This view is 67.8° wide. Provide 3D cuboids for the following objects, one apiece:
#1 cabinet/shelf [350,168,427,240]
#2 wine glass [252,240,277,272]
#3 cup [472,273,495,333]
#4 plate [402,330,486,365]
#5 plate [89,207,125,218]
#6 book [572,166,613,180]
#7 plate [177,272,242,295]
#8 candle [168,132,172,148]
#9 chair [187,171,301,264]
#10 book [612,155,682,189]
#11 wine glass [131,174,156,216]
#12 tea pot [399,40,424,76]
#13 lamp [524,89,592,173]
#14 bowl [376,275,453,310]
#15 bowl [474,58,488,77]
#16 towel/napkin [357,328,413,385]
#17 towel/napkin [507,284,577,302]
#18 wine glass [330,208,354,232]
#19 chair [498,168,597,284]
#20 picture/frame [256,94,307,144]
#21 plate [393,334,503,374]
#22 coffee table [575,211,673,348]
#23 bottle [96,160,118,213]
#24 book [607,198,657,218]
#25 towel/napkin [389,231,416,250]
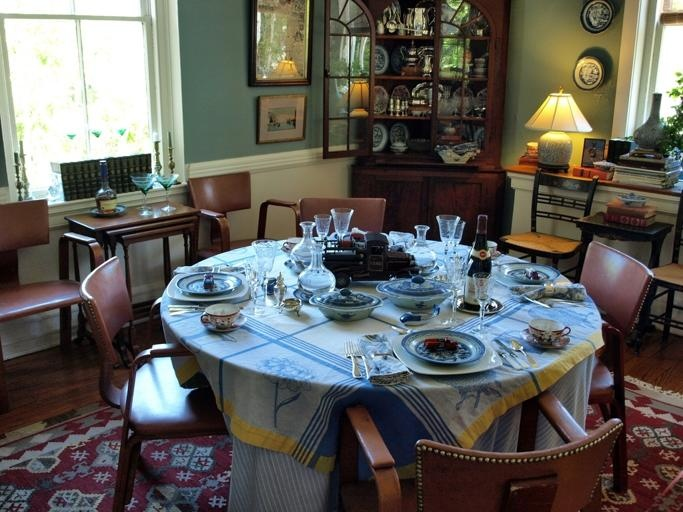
[{"bbox_3d":[0.382,-0.441,3.901,0.746,0.652,0.250,3,17,8],"label":"cabinet/shelf"},{"bbox_3d":[-0.299,0.007,2.016,0.124,0.136,0.110,-5,12,-22],"label":"wine glass"},{"bbox_3d":[0.485,0.160,1.752,0.083,0.212,0.081,3,-6,0],"label":"cup"},{"bbox_3d":[0.339,0.288,1.625,0.140,0.021,0.132,-3,23,-13],"label":"plate"},{"bbox_3d":[-1.484,-0.285,3.248,0.112,0.017,0.105,-11,25,-31],"label":"plate"},{"bbox_3d":[1.926,-0.662,3.935,0.145,0.083,0.330,-10,20,-24],"label":"book"},{"bbox_3d":[-0.539,0.113,2.076,0.141,0.018,0.143,23,28,39],"label":"plate"},{"bbox_3d":[-1.257,-0.870,3.720,0.029,0.104,0.114,-8,19,-17],"label":"candle"},{"bbox_3d":[-0.801,-0.150,3.829,0.663,0.859,0.592,16,25,29],"label":"chair"},{"bbox_3d":[2.195,-0.628,3.655,0.404,0.224,0.209,8,21,26],"label":"book"},{"bbox_3d":[-1.324,-0.426,3.423,0.205,0.241,0.203,-3,11,-22],"label":"wine glass"},{"bbox_3d":[0.641,-1.759,4.468,0.213,0.285,0.208,-4,24,2],"label":"tea pot"},{"bbox_3d":[1.723,-1.007,4.066,0.549,0.585,0.526,2,16,4],"label":"lamp"},{"bbox_3d":[0.306,0.122,1.998,0.247,0.084,0.232,-4,16,1],"label":"bowl"},{"bbox_3d":[1.169,-1.662,4.381,0.151,0.154,0.143,-1,23,0],"label":"bowl"},{"bbox_3d":[0.120,0.311,1.612,0.125,0.033,0.242,-1,21,-10],"label":"towel/napkin"},{"bbox_3d":[0.835,0.142,2.037,0.184,0.045,0.092,-4,10,14],"label":"towel/napkin"},{"bbox_3d":[0.005,-0.179,2.481,0.082,0.138,0.160,-1,18,1],"label":"wine glass"},{"bbox_3d":[1.562,-0.130,3.867,0.623,0.873,0.591,-17,24,-24],"label":"chair"},{"bbox_3d":[-0.511,-1.152,4.152,0.453,0.345,0.034,-12,25,-35],"label":"picture/frame"},{"bbox_3d":[0.329,0.301,1.540,0.154,0.020,0.145,-3,22,-9],"label":"plate"},{"bbox_3d":[1.964,0.132,3.629,0.376,0.743,0.560,-7,17,-34],"label":"coffee table"},{"bbox_3d":[-1.563,-0.479,3.327,0.118,0.320,0.349,-10,20,-24],"label":"bottle"},{"bbox_3d":[1.971,-0.331,3.467,0.201,0.051,0.209,12,18,36],"label":"book"},{"bbox_3d":[0.304,-0.091,2.569,0.097,0.039,0.122,6,19,11],"label":"towel/napkin"}]
